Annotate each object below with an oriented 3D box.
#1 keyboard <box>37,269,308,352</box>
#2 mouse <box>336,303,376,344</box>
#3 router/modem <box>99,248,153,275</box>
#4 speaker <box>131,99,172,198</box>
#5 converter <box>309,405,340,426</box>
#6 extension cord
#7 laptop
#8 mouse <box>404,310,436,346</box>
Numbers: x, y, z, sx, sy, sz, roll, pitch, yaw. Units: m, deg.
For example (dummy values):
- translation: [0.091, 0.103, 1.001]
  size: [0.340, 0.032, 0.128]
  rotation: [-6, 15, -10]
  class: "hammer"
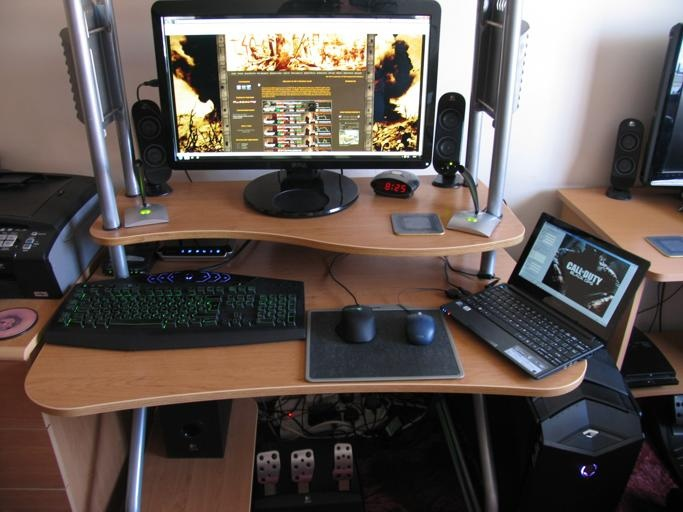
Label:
- translation: [-0.443, 0.142, 1.496]
  size: [0.677, 0.101, 0.278]
  rotation: [-2, 24, -4]
  class: "keyboard"
- translation: [0.047, 0.170, 1.467]
  size: [0.114, 0.046, 0.162]
  rotation: [1, 29, 2]
  class: "mouse"
- translation: [-0.634, 0.021, 1.653]
  size: [0.083, 0.025, 0.110]
  rotation: [1, 25, -9]
  class: "router/modem"
- translation: [-0.599, -0.342, 1.683]
  size: [0.125, 0.280, 0.119]
  rotation: [-12, 30, -20]
  class: "speaker"
- translation: [-0.065, 0.616, 2.128]
  size: [0.111, 0.061, 0.035]
  rotation: [-10, -18, -8]
  class: "converter"
- translation: [-0.044, 0.644, 2.158]
  size: [0.376, 0.053, 0.179]
  rotation: [0, 44, -3]
  class: "extension cord"
- translation: [0.517, 0.093, 1.419]
  size: [0.411, 0.217, 0.394]
  rotation: [-11, 30, -14]
  class: "laptop"
- translation: [0.212, 0.185, 1.443]
  size: [0.083, 0.035, 0.115]
  rotation: [-4, 35, 1]
  class: "mouse"
